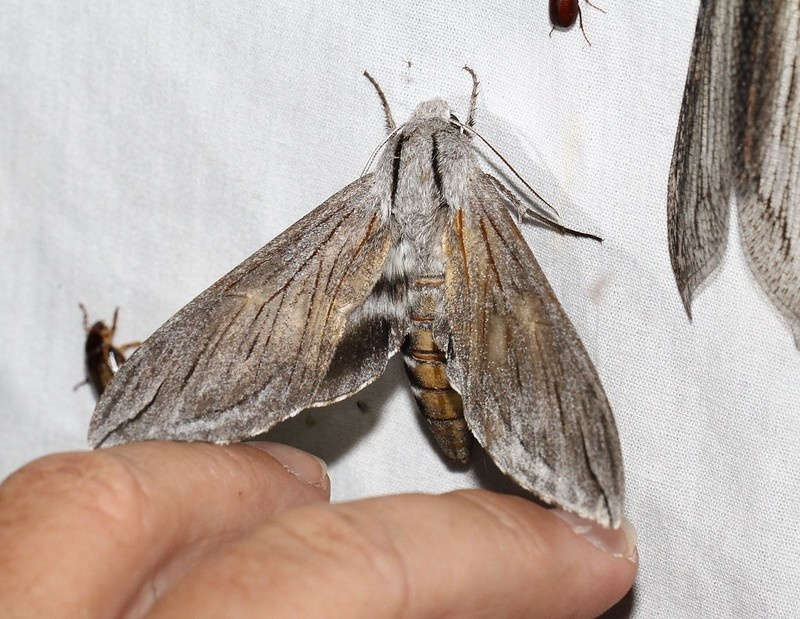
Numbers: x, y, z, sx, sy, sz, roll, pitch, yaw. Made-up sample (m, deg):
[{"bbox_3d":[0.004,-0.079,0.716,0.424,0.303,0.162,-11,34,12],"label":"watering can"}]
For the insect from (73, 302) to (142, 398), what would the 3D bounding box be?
[{"bbox_3d":[-0.843,0.133,2.769,0.203,0.272,0.077,-11,-9,13],"label":"insect"}]
